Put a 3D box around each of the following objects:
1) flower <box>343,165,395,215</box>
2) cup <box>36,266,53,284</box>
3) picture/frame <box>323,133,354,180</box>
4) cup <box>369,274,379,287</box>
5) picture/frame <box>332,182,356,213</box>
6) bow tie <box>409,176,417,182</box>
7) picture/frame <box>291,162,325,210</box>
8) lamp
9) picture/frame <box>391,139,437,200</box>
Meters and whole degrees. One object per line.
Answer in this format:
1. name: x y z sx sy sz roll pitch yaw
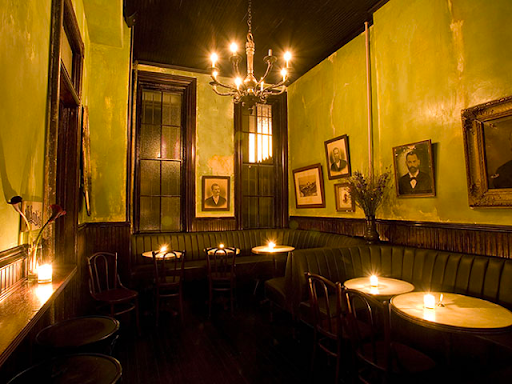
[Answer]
1. flower: 1.667 -0.023 5.606 0.436 0.694 0.700 -2 7 -15
2. cup: -1.893 0.737 3.307 0.132 0.168 0.137 -3 -7 0
3. picture/frame: 1.445 -0.636 6.438 0.037 0.914 0.729 -2 -3 -29
4. cup: 1.279 0.973 4.069 0.100 0.127 0.102 -1 -4 0
5. picture/frame: 1.501 0.079 6.244 0.045 0.488 0.429 2 -9 -20
6. bow tie: 2.123 -0.188 5.003 0.065 0.056 0.068 4 -5 -30
7. picture/frame: 1.042 -0.138 7.236 0.032 0.773 0.823 1 -8 -24
8. lamp: -0.179 -2.295 6.131 1.271 2.444 1.179 2 -7 -16
9. picture/frame: 2.135 -0.322 5.003 0.107 0.782 0.681 -4 8 -28
